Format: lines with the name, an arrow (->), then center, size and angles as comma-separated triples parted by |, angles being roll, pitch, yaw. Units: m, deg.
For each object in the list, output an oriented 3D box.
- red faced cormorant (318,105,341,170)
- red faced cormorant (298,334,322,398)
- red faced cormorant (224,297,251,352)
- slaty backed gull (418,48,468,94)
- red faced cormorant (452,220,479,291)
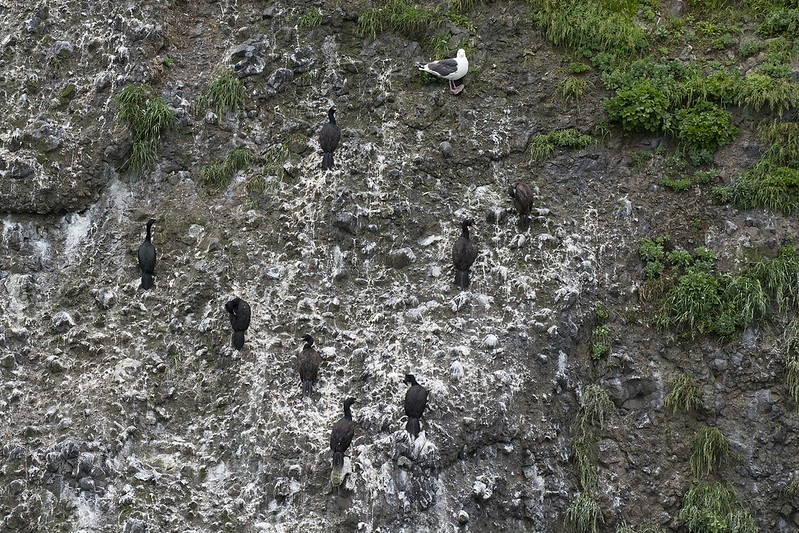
red faced cormorant -> -1.531, -2.819, 36.127 | 0.418, 0.950, 1.472 | 1, 31, 4
red faced cormorant -> -1.861, 2.089, 34.345 | 0.350, 0.678, 1.313 | -2, 71, 13
red faced cormorant -> -3.396, 1.194, 34.712 | 0.456, 0.673, 1.169 | -7, 76, 39
slaty backed gull -> 1.049, -4.394, 36.748 | 1.021, 0.640, 0.754 | -1, 67, 2
red faced cormorant -> 1.379, -0.161, 35.046 | 0.424, 0.878, 1.596 | 3, 72, 11
